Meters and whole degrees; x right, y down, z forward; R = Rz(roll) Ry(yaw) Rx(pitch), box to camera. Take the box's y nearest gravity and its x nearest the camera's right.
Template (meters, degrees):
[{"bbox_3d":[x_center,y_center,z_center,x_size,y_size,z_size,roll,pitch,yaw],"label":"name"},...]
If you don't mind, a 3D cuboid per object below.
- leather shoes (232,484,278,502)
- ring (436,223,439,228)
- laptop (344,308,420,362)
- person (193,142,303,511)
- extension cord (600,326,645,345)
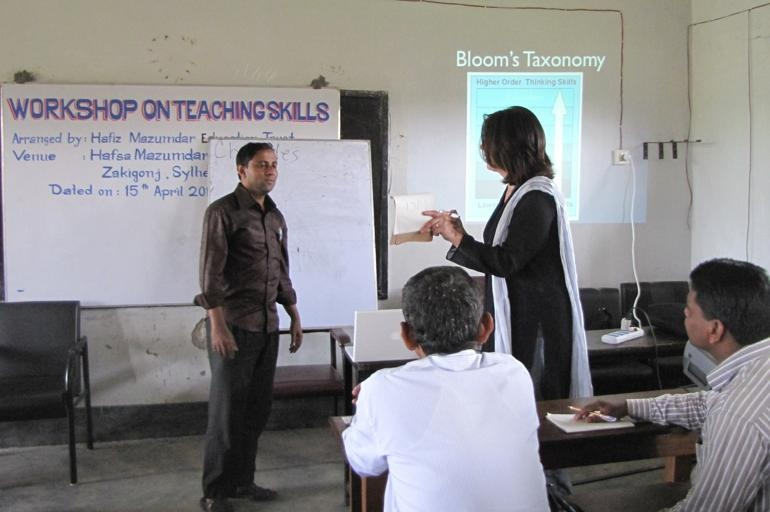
[{"bbox_3d":[-0.800,1.470,4.130,0.274,0.112,0.103,0,2,-7],"label":"leather shoes"},{"bbox_3d":[0.282,-0.166,3.577,0.016,0.023,0.006,-1,-6,25],"label":"ring"},{"bbox_3d":[-0.027,0.487,4.072,0.454,0.296,0.314,1,2,-11],"label":"laptop"},{"bbox_3d":[-0.859,0.429,4.040,0.420,2.169,0.753,6,14,26],"label":"person"},{"bbox_3d":[1.651,0.544,4.578,0.116,0.052,0.397,7,8,40],"label":"extension cord"}]
